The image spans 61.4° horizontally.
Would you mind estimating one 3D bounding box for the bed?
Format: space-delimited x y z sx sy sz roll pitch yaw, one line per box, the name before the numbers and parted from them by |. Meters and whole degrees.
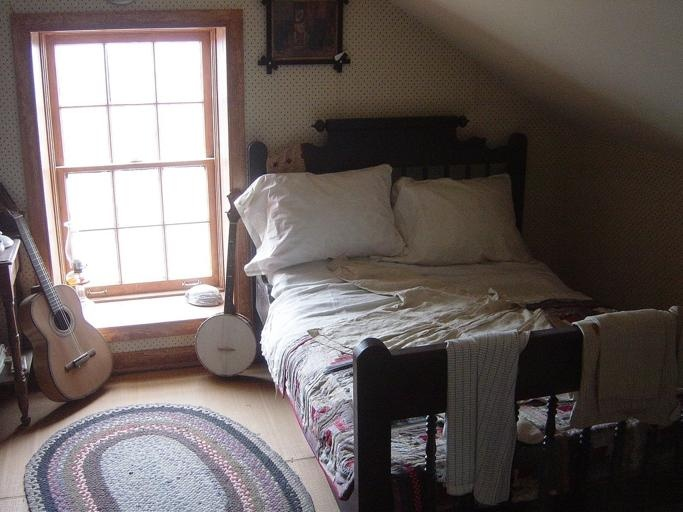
bed | 0.734 -0.008 2.902 2.124 1.446 2.016 -4 11 -16
